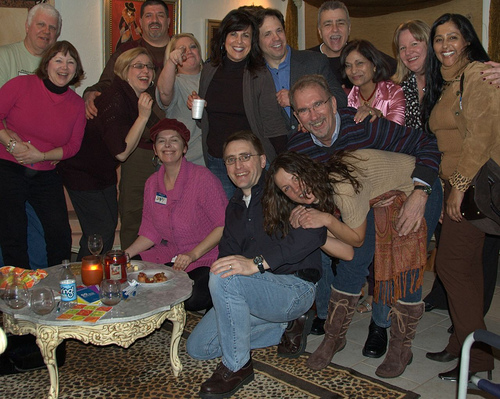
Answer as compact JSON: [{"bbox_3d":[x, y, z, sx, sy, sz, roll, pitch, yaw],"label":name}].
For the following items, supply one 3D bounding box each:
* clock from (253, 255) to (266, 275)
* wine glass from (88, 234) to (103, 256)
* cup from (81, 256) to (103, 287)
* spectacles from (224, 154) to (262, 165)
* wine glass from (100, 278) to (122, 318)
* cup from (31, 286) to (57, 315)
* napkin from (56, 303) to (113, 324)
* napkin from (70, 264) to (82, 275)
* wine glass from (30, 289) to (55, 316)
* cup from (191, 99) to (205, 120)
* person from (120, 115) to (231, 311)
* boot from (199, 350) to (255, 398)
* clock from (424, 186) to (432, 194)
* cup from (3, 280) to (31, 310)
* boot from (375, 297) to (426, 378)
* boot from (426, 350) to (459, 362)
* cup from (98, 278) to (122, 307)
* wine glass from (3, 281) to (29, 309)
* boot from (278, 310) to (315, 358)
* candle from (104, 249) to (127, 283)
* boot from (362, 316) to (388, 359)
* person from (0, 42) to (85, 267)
[{"bbox_3d":[0.060,0.398,2.436,0.064,0.108,0.111,-11,25,-2],"label":"clock"},{"bbox_3d":[-1.067,0.322,2.768,0.084,0.164,0.196,-3,9,-24],"label":"wine glass"},{"bbox_3d":[-0.997,0.451,2.579,0.161,0.187,0.163,3,10,0],"label":"cup"},{"bbox_3d":[-0.045,-0.275,2.713,0.251,0.071,0.095,-1,8,-5],"label":"spectacles"},{"bbox_3d":[-0.775,0.572,2.273,0.114,0.202,0.115,4,-13,-36],"label":"wine glass"},{"bbox_3d":[-1.110,0.548,2.221,0.110,0.142,0.137,2,9,21],"label":"cup"},{"bbox_3d":[-0.898,0.628,2.191,0.237,0.022,0.209,2,8,11],"label":"napkin"},{"bbox_3d":[-1.245,0.499,2.878,0.081,0.027,0.096,0,9,8],"label":"napkin"},{"bbox_3d":[-1.113,0.555,2.153,0.121,0.137,0.127,1,-8,-5],"label":"wine glass"},{"bbox_3d":[-0.437,-0.779,3.378,0.135,0.170,0.112,6,-10,2],"label":"cup"},{"bbox_3d":[-0.632,0.160,3.207,0.971,1.597,0.796,4,18,24],"label":"person"},{"bbox_3d":[-0.121,1.063,2.411,0.351,0.184,0.141,-12,12,-42],"label":"boot"},{"bbox_3d":[1.134,-0.064,2.541,0.042,0.047,0.014,3,-2,-18],"label":"clock"},{"bbox_3d":[-1.288,0.539,2.295,0.136,0.158,0.156,2,0,-1],"label":"cup"},{"bbox_3d":[0.966,0.899,2.583,0.200,0.469,0.288,6,10,39],"label":"boot"},{"bbox_3d":[1.303,1.077,2.727,0.205,0.091,0.067,3,5,25],"label":"boot"},{"bbox_3d":[-0.777,0.521,2.233,0.124,0.139,0.131,1,-2,0],"label":"cup"},{"bbox_3d":[-1.303,0.536,2.296,0.130,0.140,0.137,3,-1,26],"label":"wine glass"},{"bbox_3d":[0.302,0.925,2.792,0.166,0.379,0.145,33,-15,-35],"label":"boot"},{"bbox_3d":[-0.852,0.441,2.570,0.126,0.205,0.133,0,3,38],"label":"candle"},{"bbox_3d":[0.920,0.994,2.921,0.137,0.250,0.385,5,3,22],"label":"boot"},{"bbox_3d":[-1.799,-0.420,3.510,0.707,2.022,0.571,-3,8,-24],"label":"person"}]
